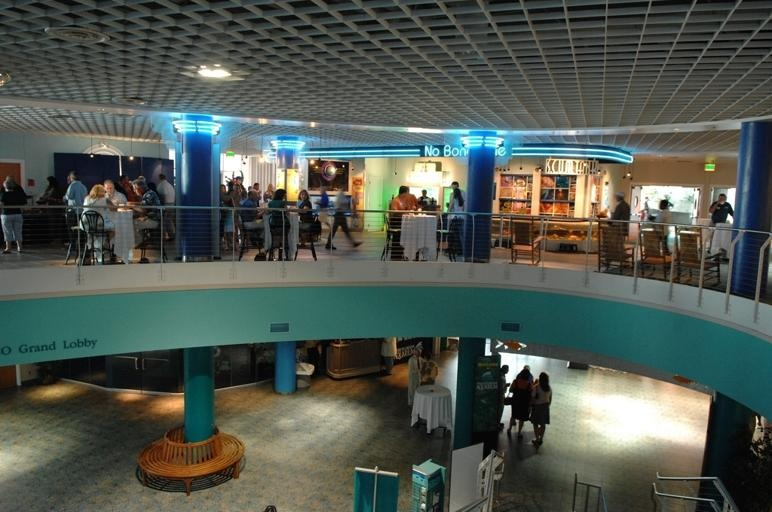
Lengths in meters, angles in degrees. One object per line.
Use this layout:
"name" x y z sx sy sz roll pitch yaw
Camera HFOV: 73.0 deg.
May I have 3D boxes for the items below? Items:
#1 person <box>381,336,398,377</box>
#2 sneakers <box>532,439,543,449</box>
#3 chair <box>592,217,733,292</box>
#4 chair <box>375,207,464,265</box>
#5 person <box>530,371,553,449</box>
"person" 0.066 3.086 16.092 0.430 1.170 0.380 3 9 -1
"sneakers" 3.488 4.349 12.074 0.132 0.229 0.253 -2 13 -17
"chair" 4.610 0.040 8.744 1.356 0.746 0.449 10 24 37
"chair" 0.754 -0.341 10.290 1.873 1.122 1.012 2 3 -2
"person" 3.597 3.549 12.189 0.426 1.745 0.756 5 9 16
